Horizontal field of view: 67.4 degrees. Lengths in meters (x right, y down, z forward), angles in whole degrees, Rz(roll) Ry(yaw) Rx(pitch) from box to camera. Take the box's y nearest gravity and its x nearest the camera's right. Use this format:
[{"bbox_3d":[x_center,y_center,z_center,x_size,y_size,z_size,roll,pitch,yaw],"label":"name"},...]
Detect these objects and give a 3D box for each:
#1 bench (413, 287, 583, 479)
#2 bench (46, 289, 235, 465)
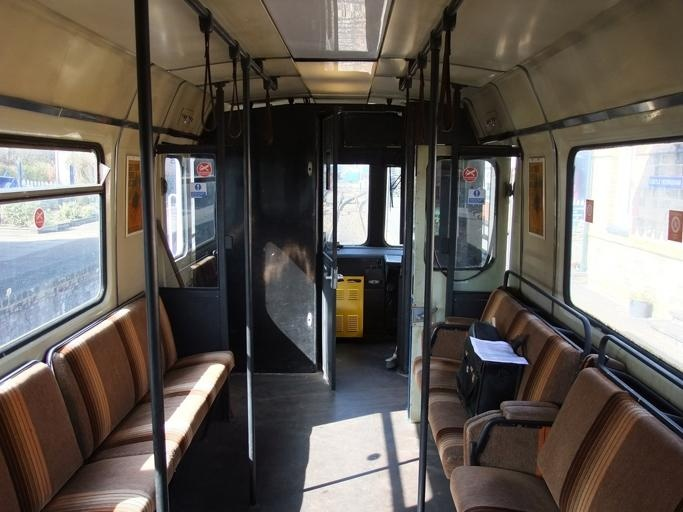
[{"bbox_3d":[1.456,1.240,5.267,1.123,1.412,2.549,3,9,-1],"label":"bench"},{"bbox_3d":[-1.823,1.194,4.726,0.966,1.085,2.059,6,10,2],"label":"bench"}]
